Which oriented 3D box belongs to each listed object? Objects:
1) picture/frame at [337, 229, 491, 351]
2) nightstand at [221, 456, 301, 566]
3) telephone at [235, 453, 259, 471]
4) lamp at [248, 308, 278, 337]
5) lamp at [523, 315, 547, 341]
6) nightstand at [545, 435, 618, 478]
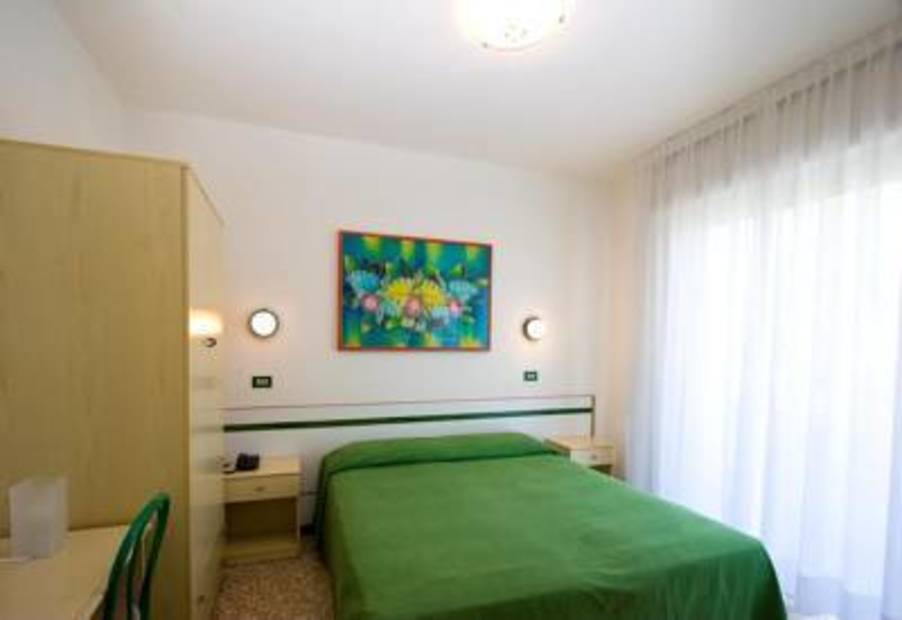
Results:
[{"bbox_3d":[-0.360,-0.155,5.144,0.936,0.723,0.034,1,2,-21],"label":"picture/frame"},{"bbox_3d":[-1.390,1.442,4.580,0.737,0.796,0.437,0,-3,-21],"label":"nightstand"},{"bbox_3d":[-1.478,1.099,4.607,0.164,0.098,0.192,1,-6,-15],"label":"telephone"},{"bbox_3d":[-1.412,0.096,4.779,0.216,0.217,0.069,1,-5,-15],"label":"lamp"},{"bbox_3d":[0.720,0.152,5.511,0.218,0.230,0.081,3,-6,-30],"label":"lamp"},{"bbox_3d":[1.126,1.126,5.423,0.461,0.452,0.356,-1,3,-31],"label":"nightstand"}]
